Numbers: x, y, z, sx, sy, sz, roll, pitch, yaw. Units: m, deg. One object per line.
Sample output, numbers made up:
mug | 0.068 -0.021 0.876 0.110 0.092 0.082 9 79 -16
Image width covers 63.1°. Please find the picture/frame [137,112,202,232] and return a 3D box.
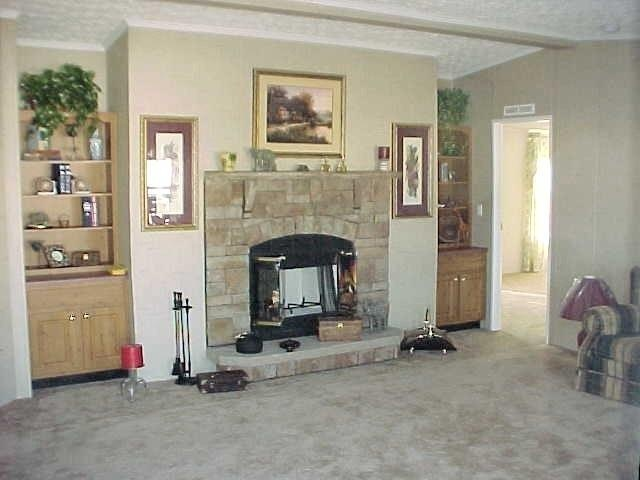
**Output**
picture/frame | -1.609 -0.715 5.561 0.642 1.205 0.099 -4 5 -12

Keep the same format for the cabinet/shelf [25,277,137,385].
cabinet/shelf | -2.633 0.963 5.639 1.271 1.080 0.517 -1 0 -26

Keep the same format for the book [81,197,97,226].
book | -2.673 -0.325 5.984 0.209 0.353 0.167 -3 4 2

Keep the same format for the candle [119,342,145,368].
candle | -1.902 1.169 5.338 0.247 0.218 0.245 1 2 -5

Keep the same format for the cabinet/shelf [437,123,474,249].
cabinet/shelf | 1.949 -0.797 7.829 0.525 1.759 0.633 -5 5 -20

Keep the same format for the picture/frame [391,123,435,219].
picture/frame | 1.197 -0.891 6.720 0.600 1.184 0.146 -6 5 -35

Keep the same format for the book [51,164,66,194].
book | -2.906 -0.674 5.793 0.175 0.281 0.308 -5 10 -31

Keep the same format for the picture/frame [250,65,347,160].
picture/frame | -0.299 -1.491 6.008 1.305 0.985 0.097 1 1 -27

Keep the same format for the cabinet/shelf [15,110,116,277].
cabinet/shelf | -2.807 -0.810 5.929 0.933 1.325 0.375 0 2 -17
